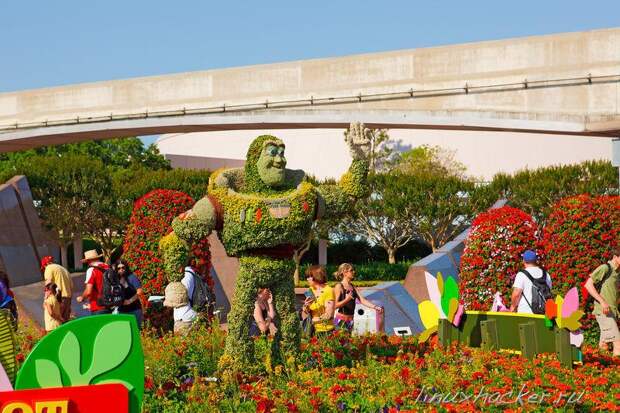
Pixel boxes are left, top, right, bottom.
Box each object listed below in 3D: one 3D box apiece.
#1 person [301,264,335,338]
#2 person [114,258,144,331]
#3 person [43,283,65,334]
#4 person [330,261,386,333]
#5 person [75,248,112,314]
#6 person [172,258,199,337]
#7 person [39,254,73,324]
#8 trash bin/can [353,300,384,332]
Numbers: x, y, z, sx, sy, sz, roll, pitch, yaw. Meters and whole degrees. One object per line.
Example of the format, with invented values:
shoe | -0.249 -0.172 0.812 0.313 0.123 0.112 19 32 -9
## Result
person | 0.310 2.964 44.331 0.874 2.444 0.864 4 8 38
person | -5.875 2.827 44.791 0.815 2.429 0.825 0 3 -9
person | -8.402 3.350 45.101 0.596 1.611 0.603 1 -6 -11
person | 1.285 3.003 44.948 0.861 2.816 1.131 0 -2 -7
person | -7.065 2.440 44.951 0.909 2.422 0.905 -2 5 11
person | -4.059 3.021 44.218 0.716 2.238 0.702 -2 2 -4
person | -8.373 2.672 45.491 0.829 2.416 0.870 -1 4 13
trash bin/can | 1.865 3.799 45.378 1.306 1.419 0.774 0 -7 -2
